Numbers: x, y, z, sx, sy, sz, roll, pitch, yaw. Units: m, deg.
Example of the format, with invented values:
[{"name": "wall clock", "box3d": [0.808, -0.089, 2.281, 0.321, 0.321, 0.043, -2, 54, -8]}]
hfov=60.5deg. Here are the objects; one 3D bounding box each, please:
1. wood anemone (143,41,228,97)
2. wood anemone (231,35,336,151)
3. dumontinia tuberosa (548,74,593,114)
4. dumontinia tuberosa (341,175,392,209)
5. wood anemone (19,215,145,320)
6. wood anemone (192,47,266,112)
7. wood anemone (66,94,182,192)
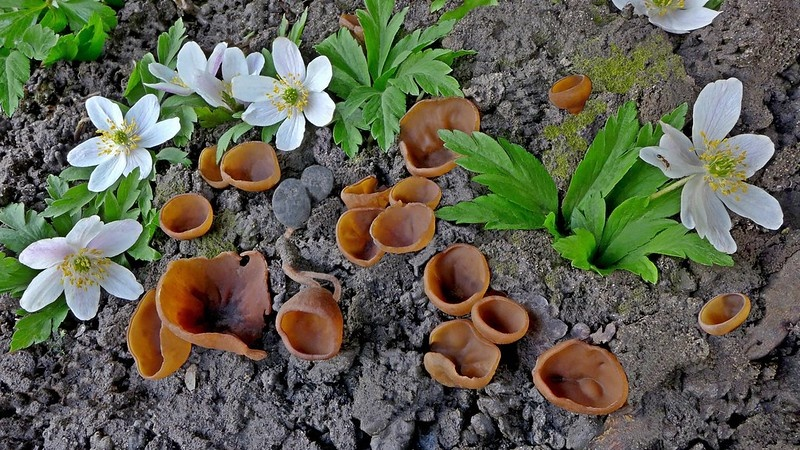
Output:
[{"name": "wood anemone", "box3d": [-1.757, -1.256, 5.602, 0.470, 0.248, 0.520, 16, 42, 36]}, {"name": "wood anemone", "box3d": [-0.877, -1.016, 5.414, 0.791, 0.273, 0.755, -43, 82, -6]}, {"name": "dumontinia tuberosa", "box3d": [1.292, -1.020, 5.322, 0.276, 0.221, 0.284, 18, 60, 46]}, {"name": "dumontinia tuberosa", "box3d": [-0.294, -0.262, 5.338, 0.296, 0.304, 0.175, 44, 123, 25]}, {"name": "wood anemone", "box3d": [-2.441, 0.328, 5.265, 0.869, 0.300, 0.766, 1, 80, 1]}, {"name": "wood anemone", "box3d": [-1.394, -1.209, 5.529, 0.494, 0.275, 0.535, 13, 82, 5]}, {"name": "wood anemone", "box3d": [-2.210, -0.659, 5.484, 0.909, 0.177, 0.756, -1, 80, 0]}]
